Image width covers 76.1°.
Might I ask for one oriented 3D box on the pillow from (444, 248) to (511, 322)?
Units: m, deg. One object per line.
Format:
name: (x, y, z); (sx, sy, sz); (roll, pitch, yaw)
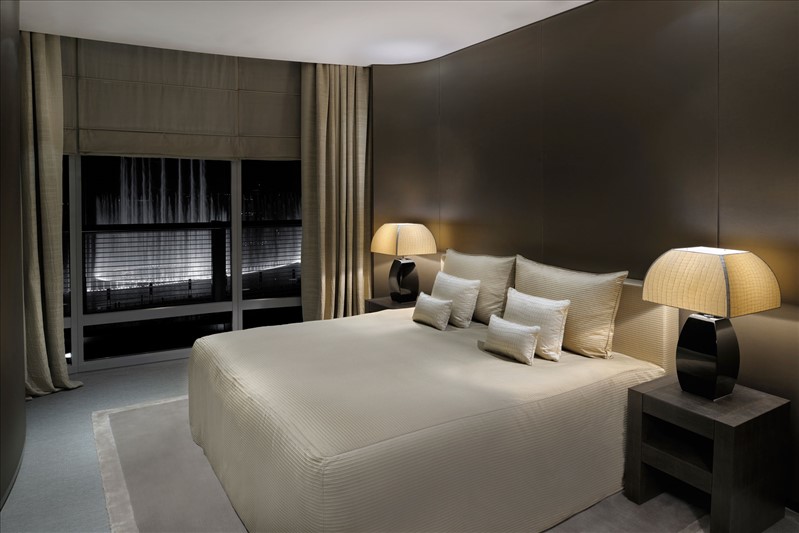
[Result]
pillow: (0.669, 0.176, 4.343); (0.218, 0.468, 0.596); (-2, 3, -31)

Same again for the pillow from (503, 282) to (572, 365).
pillow: (1.000, 0.425, 3.658); (0.184, 0.412, 0.498); (-5, 6, -36)

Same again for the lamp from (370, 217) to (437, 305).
lamp: (0.138, -0.083, 5.255); (0.724, 1.164, 0.739); (-2, 4, -20)

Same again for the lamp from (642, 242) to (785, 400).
lamp: (1.905, 0.352, 3.126); (0.754, 0.889, 0.351); (3, 12, 23)
